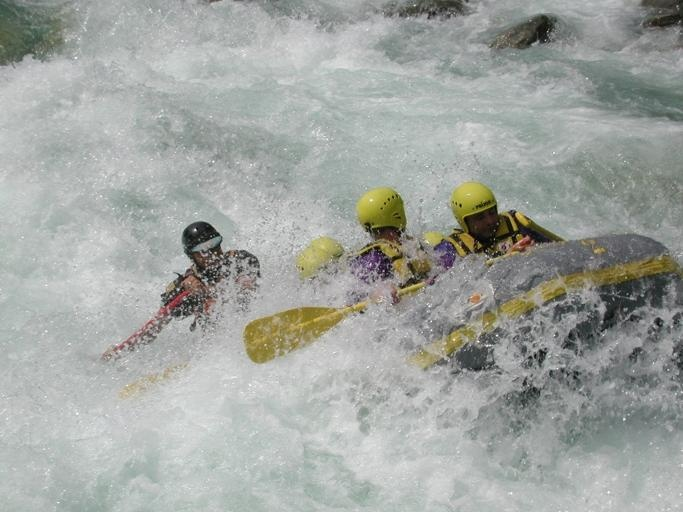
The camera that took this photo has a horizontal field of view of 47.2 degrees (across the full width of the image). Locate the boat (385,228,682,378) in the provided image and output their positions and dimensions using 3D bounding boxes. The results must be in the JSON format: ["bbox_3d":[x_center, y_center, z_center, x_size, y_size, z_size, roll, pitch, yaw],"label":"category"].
[{"bbox_3d":[2.154,0.454,8.509,2.549,1.157,0.722,-23,-38,6],"label":"boat"}]

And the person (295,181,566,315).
[{"bbox_3d":[1.074,-0.115,9.296,2.526,1.014,1.588,-25,11,22],"label":"person"}]
